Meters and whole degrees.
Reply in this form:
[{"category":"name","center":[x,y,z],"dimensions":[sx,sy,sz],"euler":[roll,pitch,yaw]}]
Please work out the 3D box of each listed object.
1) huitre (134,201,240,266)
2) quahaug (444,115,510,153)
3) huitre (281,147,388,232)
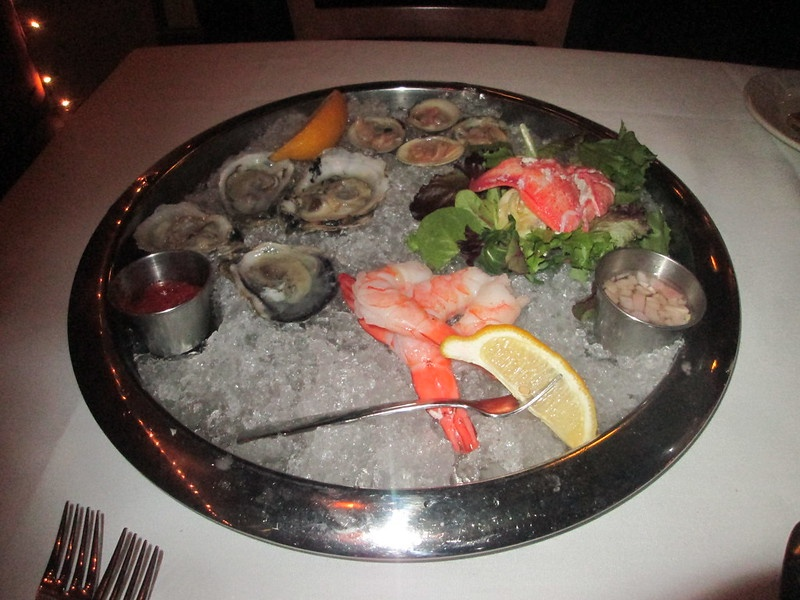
[{"category":"huitre","center":[-0.590,-0.190,1.672],"dimensions":[0.199,0.047,0.179],"euler":[6,58,-8]},{"category":"quahaug","center":[0.243,-0.520,1.878],"dimensions":[0.194,0.053,0.123],"euler":[-12,32,-24]},{"category":"huitre","center":[-0.190,-0.328,1.801],"dimensions":[0.289,0.094,0.238],"euler":[-31,77,-17]}]
